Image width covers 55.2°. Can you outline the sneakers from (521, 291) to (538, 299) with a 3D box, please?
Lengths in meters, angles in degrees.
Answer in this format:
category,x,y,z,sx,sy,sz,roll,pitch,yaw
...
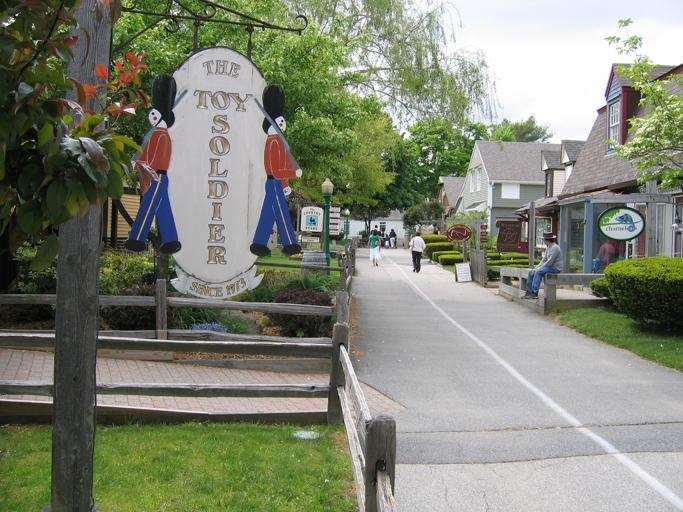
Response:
category,x,y,z,sx,sy,sz,roll,pitch,yaw
sneakers,4.940,1.031,17.123,0.368,0.190,0.137,5,1,11

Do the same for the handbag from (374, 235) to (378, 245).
category,x,y,z,sx,sy,sz,roll,pitch,yaw
handbag,1.781,-0.763,33.237,0.128,0.475,0.391,1,1,24

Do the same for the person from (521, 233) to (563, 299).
category,x,y,z,sx,sy,sz,roll,pitch,yaw
person,5.258,0.261,17.058,0.917,1.355,2.190,1,1,17
